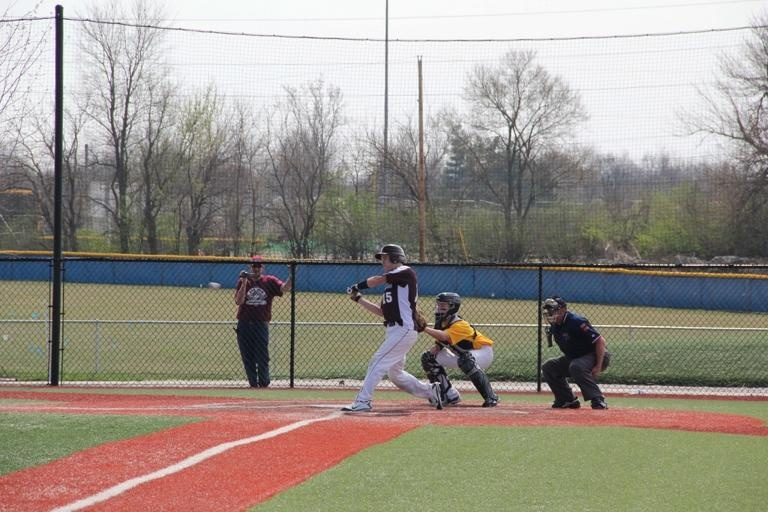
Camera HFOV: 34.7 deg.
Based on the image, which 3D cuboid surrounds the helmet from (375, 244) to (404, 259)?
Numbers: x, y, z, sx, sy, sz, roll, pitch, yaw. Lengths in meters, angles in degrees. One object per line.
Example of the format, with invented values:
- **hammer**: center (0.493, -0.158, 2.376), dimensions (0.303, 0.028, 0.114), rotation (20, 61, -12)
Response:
- **helmet**: center (0.181, -0.173, 33.379), dimensions (0.580, 0.344, 0.425), rotation (4, -13, 0)

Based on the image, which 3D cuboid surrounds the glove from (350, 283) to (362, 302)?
- **glove**: center (-0.778, 0.981, 33.087), dimensions (0.259, 0.457, 0.683), rotation (-1, -1, -2)

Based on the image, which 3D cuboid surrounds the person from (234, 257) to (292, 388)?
- **person**: center (-3.670, 1.940, 35.841), dimensions (1.297, 3.802, 0.823), rotation (-1, 0, -22)
